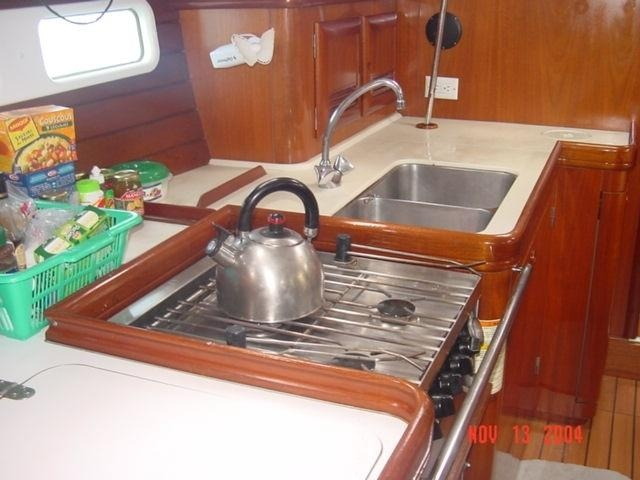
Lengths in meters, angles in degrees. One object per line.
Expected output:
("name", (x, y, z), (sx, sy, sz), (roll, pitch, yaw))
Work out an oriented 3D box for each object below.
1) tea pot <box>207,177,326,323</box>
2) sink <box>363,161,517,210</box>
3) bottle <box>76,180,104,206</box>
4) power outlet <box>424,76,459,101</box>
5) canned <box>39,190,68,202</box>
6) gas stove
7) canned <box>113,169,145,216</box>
("tea pot", (-0.113, 0.007, 1.087), (0.290, 0.252, 0.264), (8, 24, -4))
("sink", (0.515, -0.228, 1.887), (0.407, 0.124, 0.270), (10, 43, 18))
("bottle", (-0.622, -0.123, 1.285), (0.067, 0.060, 0.059), (-10, 35, -24))
("power outlet", (0.647, -0.788, 2.507), (0.251, 0.153, 0.030), (9, 40, 21))
("canned", (-0.689, -0.111, 1.237), (0.044, 0.031, 0.066), (9, 12, 14))
("gas stove", (-0.023, 0.184, 1.098), (0.538, 0.185, 0.479), (7, 25, 15))
("canned", (-0.577, -0.135, 1.424), (0.097, 0.131, 0.079), (5, 13, -7))
